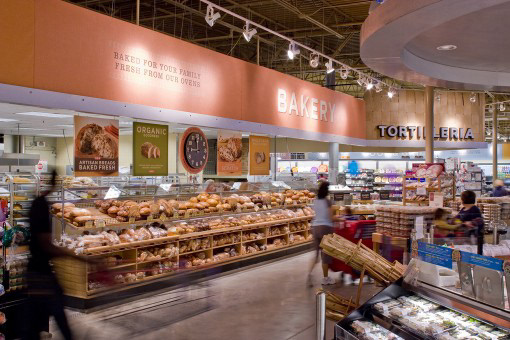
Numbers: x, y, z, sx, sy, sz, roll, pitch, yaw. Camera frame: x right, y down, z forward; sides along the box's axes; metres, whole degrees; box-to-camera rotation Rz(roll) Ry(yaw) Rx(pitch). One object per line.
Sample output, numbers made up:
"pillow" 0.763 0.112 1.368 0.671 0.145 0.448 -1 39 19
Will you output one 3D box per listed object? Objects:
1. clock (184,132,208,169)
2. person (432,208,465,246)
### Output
"clock" -1.304 -0.437 8.240 0.091 0.741 0.767 -4 -9 32
"person" 2.624 0.721 5.058 0.427 0.250 0.786 -4 -42 23
